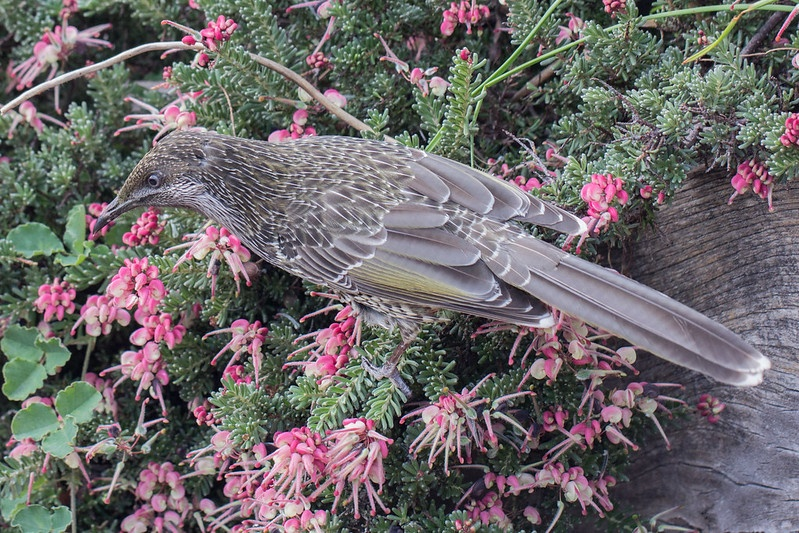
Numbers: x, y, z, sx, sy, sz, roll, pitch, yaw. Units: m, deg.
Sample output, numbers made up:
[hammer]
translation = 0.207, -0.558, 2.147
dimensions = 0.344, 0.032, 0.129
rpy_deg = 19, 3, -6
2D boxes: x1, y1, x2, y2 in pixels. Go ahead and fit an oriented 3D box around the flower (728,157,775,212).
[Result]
[flower]
translation = 1.511, -0.356, 4.131
dimensions = 0.088, 0.226, 0.201
rpy_deg = -2, 44, 5
